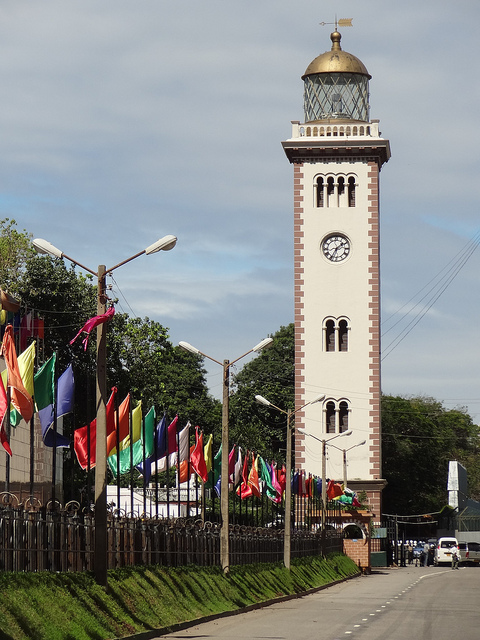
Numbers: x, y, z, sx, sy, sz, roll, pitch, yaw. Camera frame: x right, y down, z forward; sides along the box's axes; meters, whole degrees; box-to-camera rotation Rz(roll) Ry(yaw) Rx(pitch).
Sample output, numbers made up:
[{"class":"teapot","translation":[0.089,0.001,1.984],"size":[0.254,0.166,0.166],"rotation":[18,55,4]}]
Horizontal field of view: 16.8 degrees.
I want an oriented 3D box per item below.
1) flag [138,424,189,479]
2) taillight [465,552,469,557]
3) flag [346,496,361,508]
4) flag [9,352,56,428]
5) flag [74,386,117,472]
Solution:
[{"class":"flag","translation":[-2.037,4.006,47.688],"size":[0.996,2.218,1.011],"rotation":[-6,-9,6]},{"class":"taillight","translation":[11.309,11.737,81.371],"size":[0.134,0.271,0.150],"rotation":[2,-1,10]},{"class":"flag","translation":[4.910,8.038,71.525],"size":[0.526,0.679,0.031],"rotation":[4,12,3]},{"class":"flag","translation":[-4.582,1.565,37.442],"size":[0.742,2.574,0.695],"rotation":[-7,-6,-7]},{"class":"flag","translation":[-3.572,2.831,40.756],"size":[1.353,1.784,0.189],"rotation":[-19,-19,6]}]
